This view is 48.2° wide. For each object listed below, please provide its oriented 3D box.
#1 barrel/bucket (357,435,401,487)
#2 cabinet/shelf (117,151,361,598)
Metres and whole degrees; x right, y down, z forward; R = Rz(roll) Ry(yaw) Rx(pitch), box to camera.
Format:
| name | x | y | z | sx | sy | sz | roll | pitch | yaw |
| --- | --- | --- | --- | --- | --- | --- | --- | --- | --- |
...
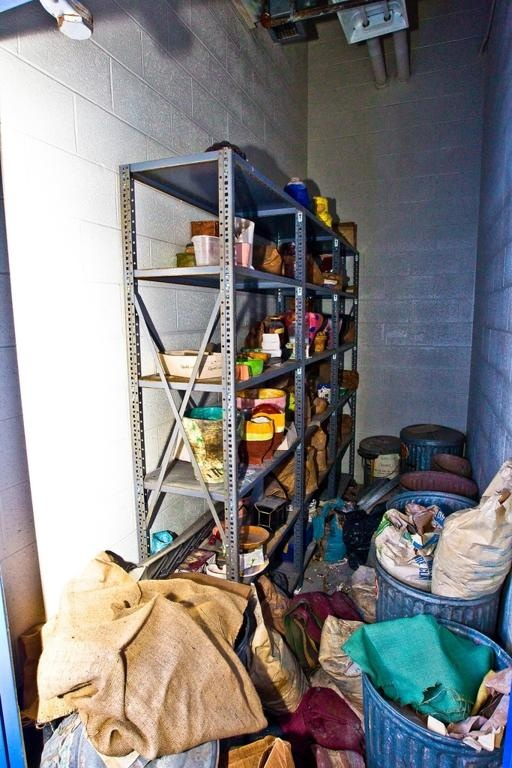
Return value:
| name | x | y | z | sx | sy | sz | roll | pitch | yaw |
| --- | --- | --- | --- | --- | --- | --- | --- | --- | --- |
| barrel/bucket | 0.717 | 0.453 | 3.348 | 0.254 | 0.264 | 0.276 | -3 | 10 | 0 |
| cabinet/shelf | 0.051 | 0.055 | 2.445 | 0.418 | 1.587 | 1.887 | 6 | 9 | 18 |
